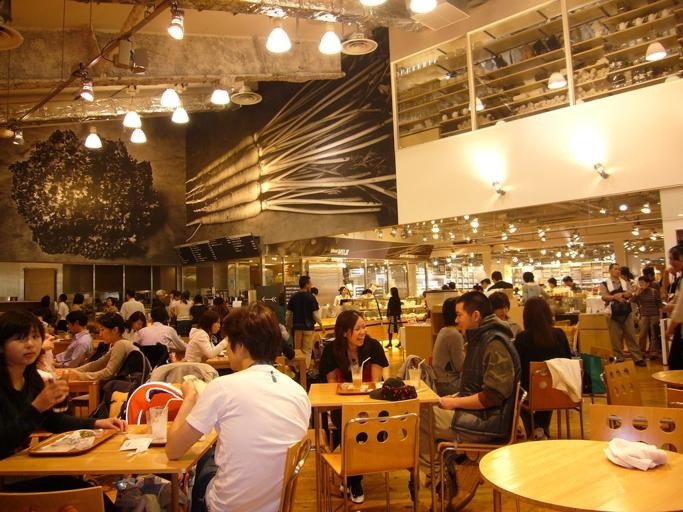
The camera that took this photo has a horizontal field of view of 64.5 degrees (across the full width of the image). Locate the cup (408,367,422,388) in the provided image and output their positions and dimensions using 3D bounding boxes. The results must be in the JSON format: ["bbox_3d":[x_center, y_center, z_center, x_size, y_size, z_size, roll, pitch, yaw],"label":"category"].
[{"bbox_3d":[0.628,1.051,4.648,0.137,0.175,0.146,-2,-6,0],"label":"cup"}]

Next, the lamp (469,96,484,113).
[{"bbox_3d":[2.118,-2.317,8.391,0.208,0.221,0.206,-1,1,-40],"label":"lamp"}]

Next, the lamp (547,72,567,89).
[{"bbox_3d":[3.023,-2.434,7.590,0.225,0.166,0.229,0,6,24],"label":"lamp"}]

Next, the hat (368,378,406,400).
[{"bbox_3d":[0.363,1.066,4.308,0.293,0.153,0.339,-1,-6,10],"label":"hat"}]

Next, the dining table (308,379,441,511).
[{"bbox_3d":[0.240,1.347,4.439,1.151,1.072,1.057,3,-16,-13],"label":"dining table"}]

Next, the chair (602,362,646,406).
[{"bbox_3d":[2.302,1.044,4.400,0.458,0.357,0.217,3,-6,-31],"label":"chair"}]
